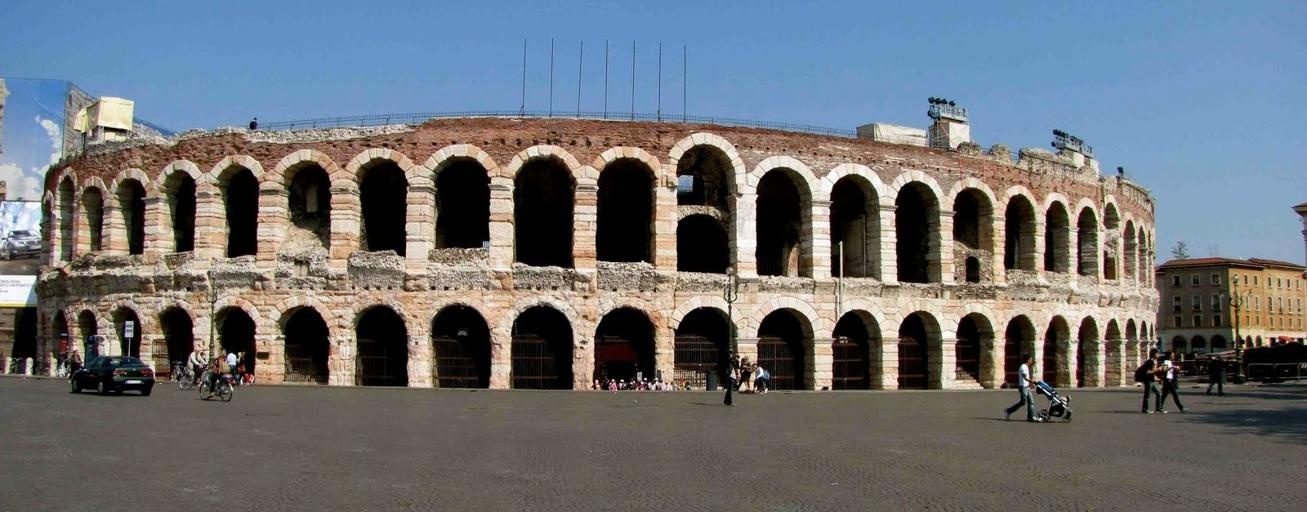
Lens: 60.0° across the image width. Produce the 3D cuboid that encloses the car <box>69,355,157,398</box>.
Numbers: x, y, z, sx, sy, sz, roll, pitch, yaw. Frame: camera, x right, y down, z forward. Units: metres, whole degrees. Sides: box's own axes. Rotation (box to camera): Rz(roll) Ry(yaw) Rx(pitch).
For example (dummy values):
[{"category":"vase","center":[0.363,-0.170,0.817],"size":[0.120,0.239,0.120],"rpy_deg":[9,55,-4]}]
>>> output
[{"category":"car","center":[-39.224,8.654,81.924],"size":[5.750,2.843,1.933],"rpy_deg":[-2,-7,21]}]
